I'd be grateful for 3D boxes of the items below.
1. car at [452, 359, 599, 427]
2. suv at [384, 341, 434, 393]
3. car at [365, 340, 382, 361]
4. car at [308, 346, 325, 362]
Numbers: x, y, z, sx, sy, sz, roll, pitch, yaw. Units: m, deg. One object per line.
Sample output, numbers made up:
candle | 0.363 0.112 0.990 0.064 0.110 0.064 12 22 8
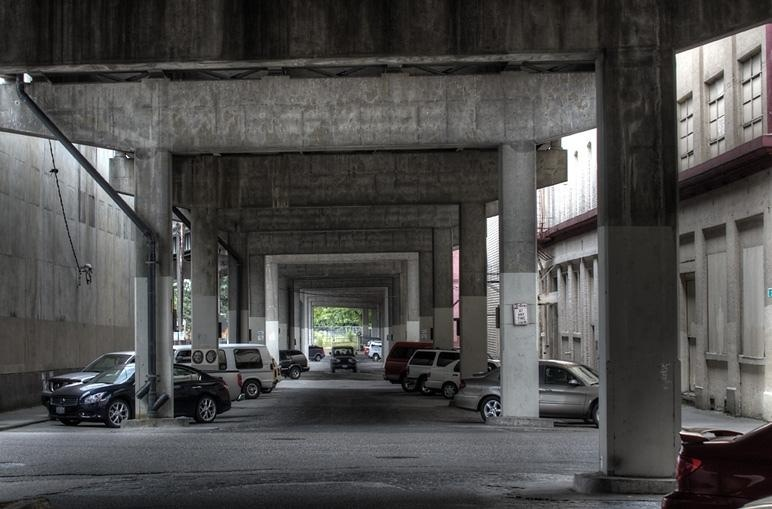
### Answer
car | 4.441 4.457 29.808 4.418 1.591 1.949 -2 -5 8
suv | 1.011 5.760 49.668 2.735 1.669 1.685 -3 -3 12
car | -1.809 11.495 109.756 2.930 1.851 1.764 -5 -4 34
car | -8.639 11.831 111.699 1.986 1.338 1.022 4 17 -13
